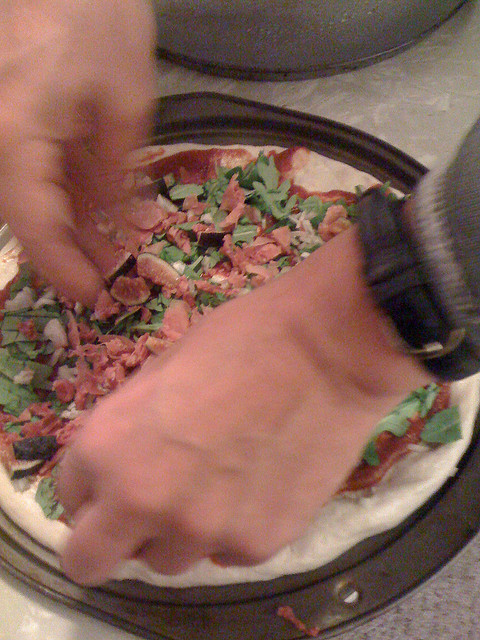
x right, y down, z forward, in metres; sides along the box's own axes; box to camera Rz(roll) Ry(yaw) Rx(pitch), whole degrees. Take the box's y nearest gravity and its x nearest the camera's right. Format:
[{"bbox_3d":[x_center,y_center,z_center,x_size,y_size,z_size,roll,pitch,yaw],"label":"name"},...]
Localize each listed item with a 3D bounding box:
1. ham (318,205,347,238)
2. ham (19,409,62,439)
[{"bbox_3d":[0.136,-0.141,0.965,0.014,0.033,0.050,46,71,-32],"label":"ham"},{"bbox_3d":[-0.273,0.141,0.892,0.044,0.013,0.029,-36,70,-18],"label":"ham"}]
